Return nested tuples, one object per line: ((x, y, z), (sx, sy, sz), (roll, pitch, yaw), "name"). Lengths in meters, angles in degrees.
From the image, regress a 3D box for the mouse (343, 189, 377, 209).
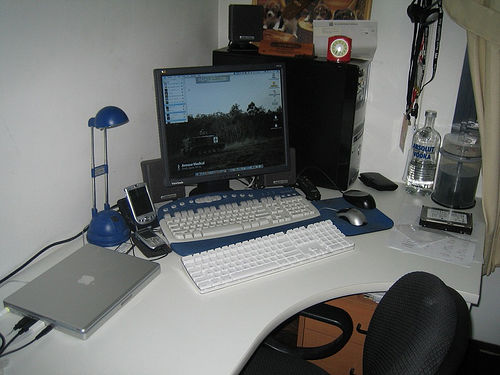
((0.461, 0.048, 1.592), (0.066, 0.042, 0.114), (-16, 30, -39), "mouse")

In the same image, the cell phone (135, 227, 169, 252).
((-0.348, 0.182, 1.335), (0.061, 0.027, 0.112), (-15, 32, -34), "cell phone")

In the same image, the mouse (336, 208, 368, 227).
((0.392, 0.113, 1.467), (0.058, 0.036, 0.099), (-18, 32, -34), "mouse")

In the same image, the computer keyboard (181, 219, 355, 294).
((0.088, 0.223, 1.301), (0.619, 0.069, 0.187), (-9, 22, -27), "computer keyboard")

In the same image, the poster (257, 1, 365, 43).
((0.252, -0.824, 1.838), (0.501, 0.237, 0.124), (9, 24, 18), "poster")

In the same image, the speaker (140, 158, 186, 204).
((-0.380, -0.036, 1.613), (0.140, 0.180, 0.184), (22, 20, 30), "speaker")

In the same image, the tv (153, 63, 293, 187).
((-0.101, -0.258, 1.536), (0.572, 0.442, 0.081), (-11, 19, -28), "tv")

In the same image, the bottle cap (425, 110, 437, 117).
((0.790, -0.324, 1.667), (0.038, 0.025, 0.056), (13, 26, 39), "bottle cap")

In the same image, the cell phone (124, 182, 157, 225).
((-0.406, 0.064, 1.412), (0.100, 0.188, 0.026), (-21, -7, -35), "cell phone")

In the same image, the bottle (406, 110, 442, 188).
((0.802, -0.185, 1.749), (0.136, 0.345, 0.196), (5, 21, 24), "bottle")

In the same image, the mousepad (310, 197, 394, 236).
((0.397, 0.120, 1.495), (0.197, 0.045, 0.228), (-9, 25, -32), "mousepad")

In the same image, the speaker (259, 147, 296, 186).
((0.106, -0.090, 1.688), (0.151, 0.169, 0.123), (-8, 22, -24), "speaker")

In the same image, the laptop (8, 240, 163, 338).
((-0.472, 0.296, 1.161), (0.299, 0.115, 0.333), (4, 21, 21), "laptop")
